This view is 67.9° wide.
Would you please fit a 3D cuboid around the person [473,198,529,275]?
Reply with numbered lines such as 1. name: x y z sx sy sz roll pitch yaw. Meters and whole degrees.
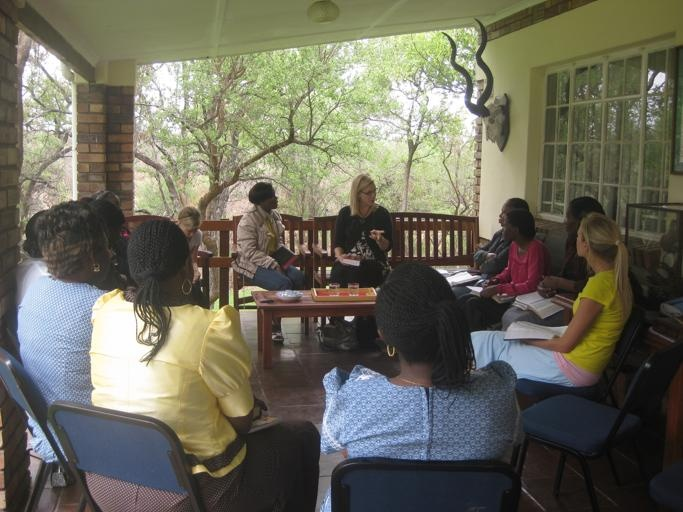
1. person: 1.711 -0.109 5.410 0.489 0.847 0.422 14 21 26

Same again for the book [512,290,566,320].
1. book: 1.560 0.383 3.992 0.174 0.065 0.254 -12 21 -29

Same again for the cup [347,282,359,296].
1. cup: 0.116 0.328 5.035 0.093 0.113 0.097 1 -2 0

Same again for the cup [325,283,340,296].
1. cup: -0.101 0.322 5.077 0.100 0.121 0.108 1 -3 0
